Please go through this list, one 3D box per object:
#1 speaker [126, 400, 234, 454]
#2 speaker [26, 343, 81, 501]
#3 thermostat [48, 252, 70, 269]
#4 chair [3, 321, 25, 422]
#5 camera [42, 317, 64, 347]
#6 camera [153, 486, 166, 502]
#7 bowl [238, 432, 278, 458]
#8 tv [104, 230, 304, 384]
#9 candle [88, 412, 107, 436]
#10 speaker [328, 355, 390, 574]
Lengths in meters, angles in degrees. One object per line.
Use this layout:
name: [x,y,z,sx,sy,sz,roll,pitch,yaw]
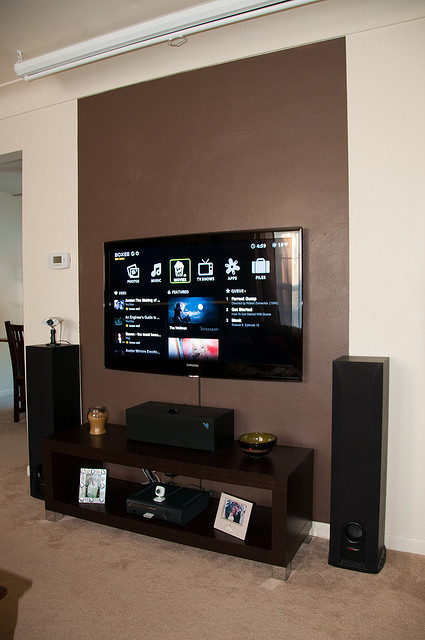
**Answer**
speaker: [-0.180,0.546,2.595,0.553,0.170,0.279,0,1,27]
speaker: [-0.956,0.612,2.995,0.315,0.914,0.216,-1,1,-22]
thermostat: [-1.018,-0.391,3.298,0.162,0.130,0.091,3,7,21]
chair: [-1.961,0.506,4.924,0.167,0.972,0.359,-1,1,-23]
camera: [-0.992,0.073,3.127,0.099,0.172,0.386,-1,1,-16]
camera: [-0.264,0.873,2.471,0.040,0.056,0.047,-1,-4,17]
bowl: [0.211,0.590,2.377,0.174,0.083,0.300,0,1,4]
tv: [-0.090,-0.069,2.720,1.221,0.780,0.094,0,1,29]
candle: [-0.638,0.566,2.744,0.103,0.129,0.116,0,-2,6]
speaker: [0.608,0.623,2.114,0.213,0.896,0.087,0,1,14]
